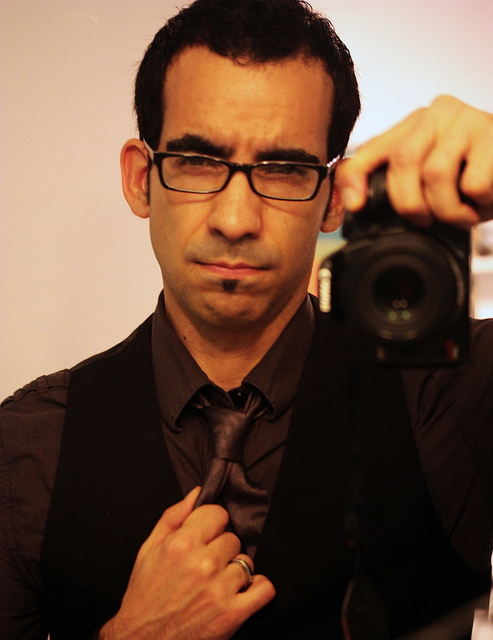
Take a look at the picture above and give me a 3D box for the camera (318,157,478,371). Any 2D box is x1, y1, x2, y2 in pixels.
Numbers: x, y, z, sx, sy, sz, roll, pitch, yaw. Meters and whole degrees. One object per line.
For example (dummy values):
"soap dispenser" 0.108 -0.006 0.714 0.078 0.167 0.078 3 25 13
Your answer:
"camera" 0.301 -0.086 1.358 0.293 0.401 0.200 7 39 16

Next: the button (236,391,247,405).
"button" -0.014 0.198 1.740 0.032 0.028 0.008 -2 -7 23

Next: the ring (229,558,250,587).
"ring" -0.021 0.527 1.449 0.041 0.051 0.020 -19 -6 31
